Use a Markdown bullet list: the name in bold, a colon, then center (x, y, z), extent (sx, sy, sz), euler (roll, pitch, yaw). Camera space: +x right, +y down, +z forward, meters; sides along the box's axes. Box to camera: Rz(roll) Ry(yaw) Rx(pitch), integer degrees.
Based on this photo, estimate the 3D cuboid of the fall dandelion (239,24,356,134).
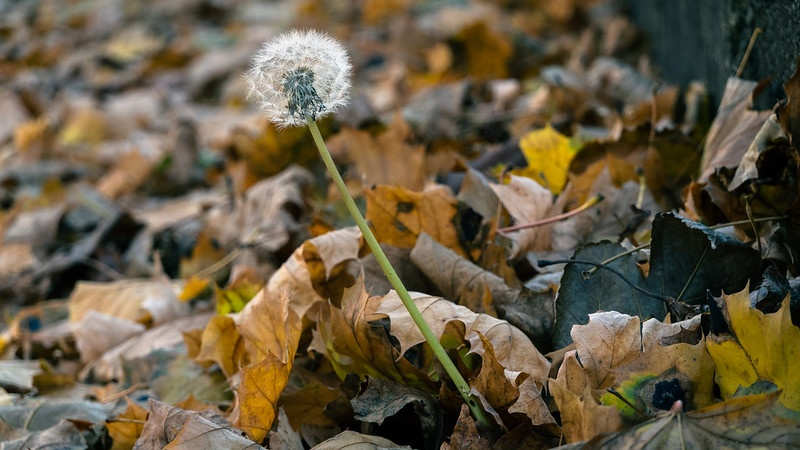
- **fall dandelion**: center (-0.274, -0.411, 3.043), extent (0.254, 0.188, 0.287), euler (27, 67, 35)
